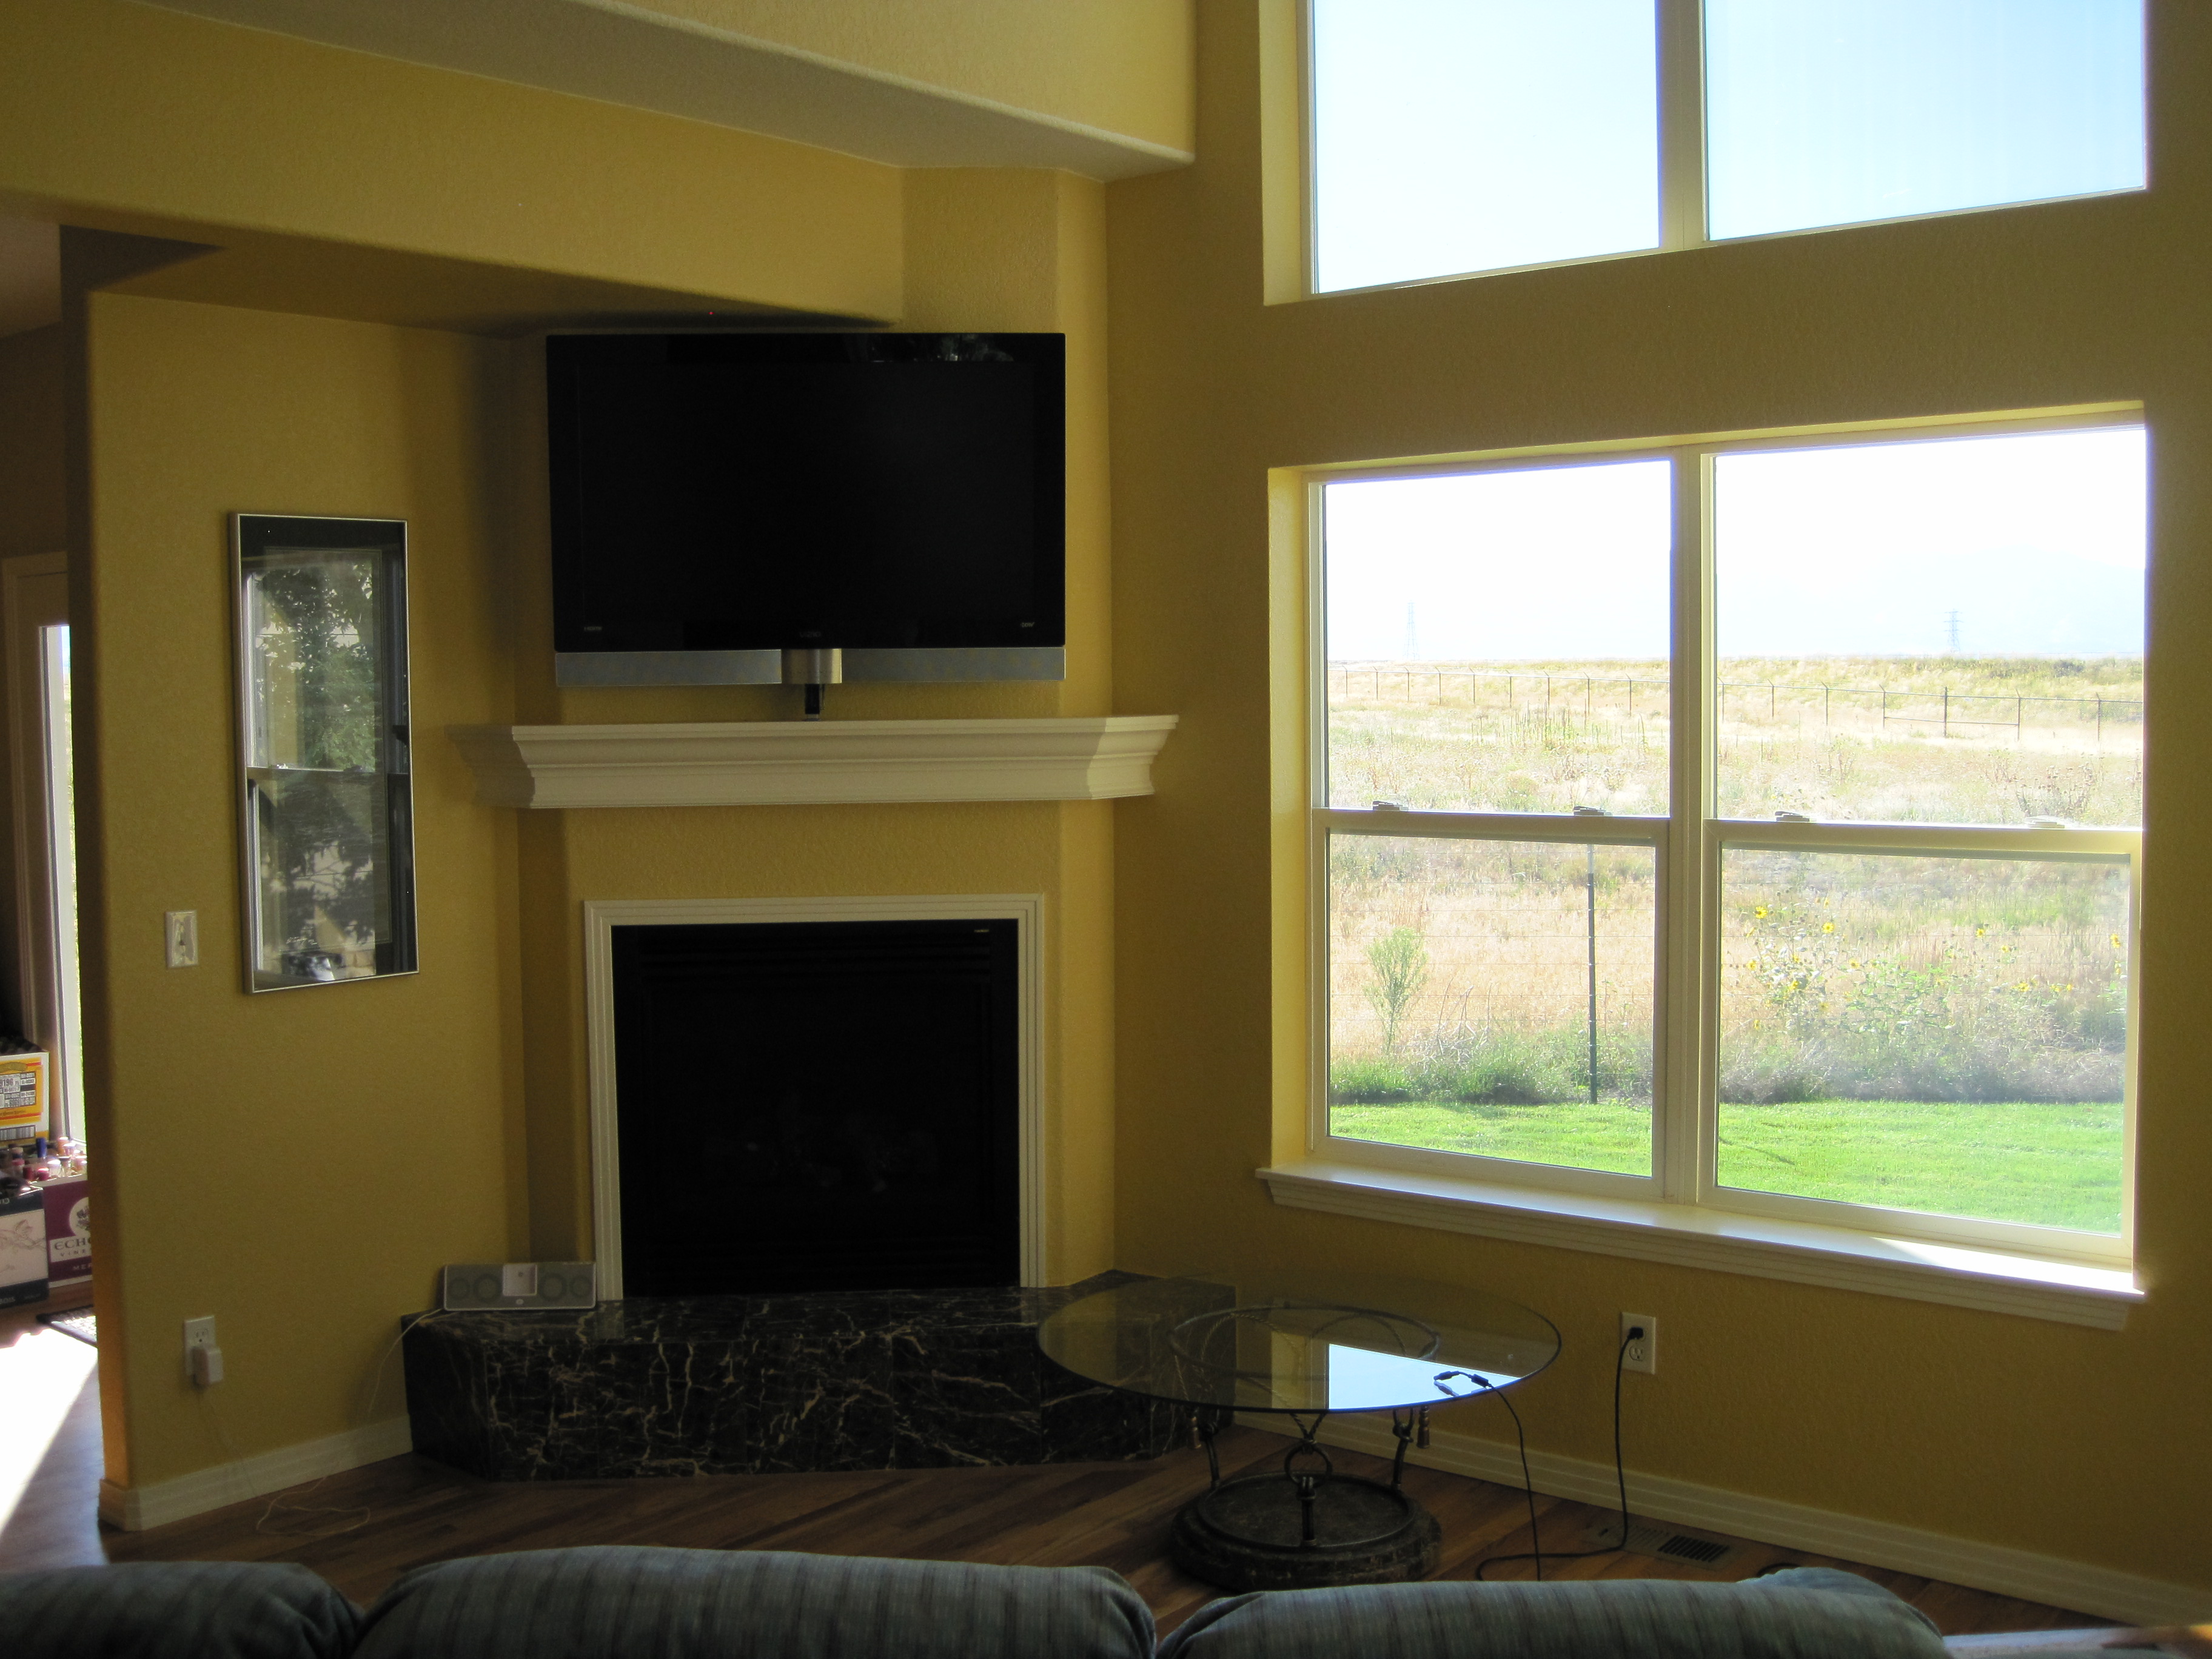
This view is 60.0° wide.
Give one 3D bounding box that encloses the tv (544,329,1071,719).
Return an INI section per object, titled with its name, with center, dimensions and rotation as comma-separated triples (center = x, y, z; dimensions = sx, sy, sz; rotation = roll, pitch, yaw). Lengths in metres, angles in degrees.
[tv]
center = -0.778, -0.818, 4.856
dimensions = 0.954, 0.736, 0.068
rotation = 0, 5, -2
